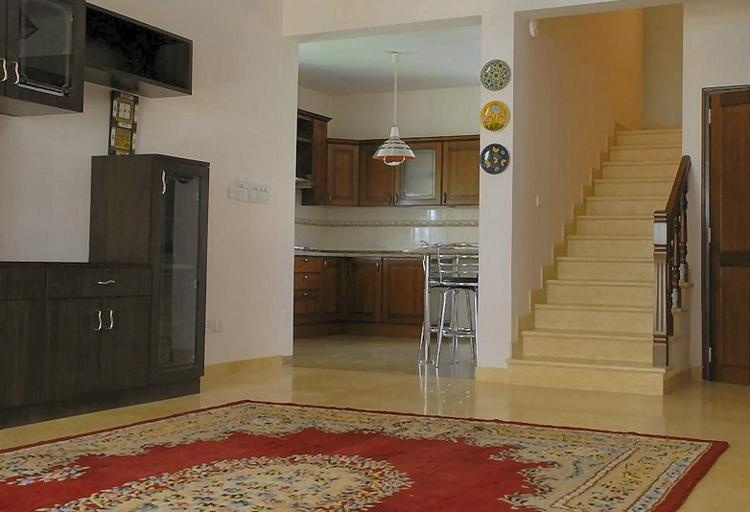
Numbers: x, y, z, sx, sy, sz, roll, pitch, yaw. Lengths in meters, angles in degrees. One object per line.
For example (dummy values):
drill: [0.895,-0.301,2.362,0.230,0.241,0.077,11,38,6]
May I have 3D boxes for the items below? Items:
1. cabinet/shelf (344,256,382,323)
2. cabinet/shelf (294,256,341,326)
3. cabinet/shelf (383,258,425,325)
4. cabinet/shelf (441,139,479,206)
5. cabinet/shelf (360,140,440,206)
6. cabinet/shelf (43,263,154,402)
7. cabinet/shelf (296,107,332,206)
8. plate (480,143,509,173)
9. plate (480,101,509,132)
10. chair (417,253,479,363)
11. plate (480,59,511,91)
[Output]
cabinet/shelf: [0.039,0.563,9.160,0.706,1.064,0.723,2,-2,23]
cabinet/shelf: [-0.714,0.587,8.756,1.130,1.077,0.547,-5,-13,34]
cabinet/shelf: [0.499,0.557,8.966,0.558,0.945,0.533,0,-3,13]
cabinet/shelf: [1.339,-1.327,8.945,0.561,1.022,0.165,1,3,14]
cabinet/shelf: [0.326,-1.353,9.437,1.423,1.037,0.522,-3,15,-17]
cabinet/shelf: [-1.862,0.516,4.131,0.941,0.877,0.463,-4,-8,17]
cabinet/shelf: [-1.063,-1.546,9.124,0.342,1.437,0.706,2,3,31]
plate: [1.134,-0.927,5.507,0.282,0.282,0.283,8,9,8]
plate: [1.165,-1.338,5.487,0.311,0.339,0.048,0,-2,24]
chair: [1.071,0.619,7.333,0.932,1.307,0.930,3,2,-1]
plate: [1.161,-1.731,5.489,0.295,0.297,0.076,13,10,29]
